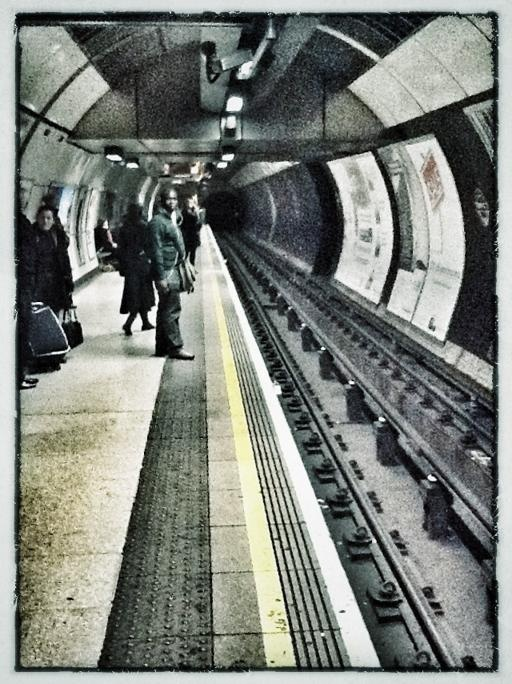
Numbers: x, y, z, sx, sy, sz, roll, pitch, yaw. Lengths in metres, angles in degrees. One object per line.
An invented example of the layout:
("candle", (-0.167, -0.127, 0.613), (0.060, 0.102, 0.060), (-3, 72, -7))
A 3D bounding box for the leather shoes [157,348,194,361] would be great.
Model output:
("leather shoes", (-0.990, 0.154, 7.261), (0.496, 0.180, 0.160), (-2, 9, -1))

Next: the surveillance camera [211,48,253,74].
("surveillance camera", (-0.185, -2.090, 4.503), (0.329, 0.165, 0.073), (-16, -17, -3))

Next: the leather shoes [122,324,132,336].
("leather shoes", (-1.822, -0.171, 8.414), (0.136, 0.150, 0.088), (12, 32, 18))
